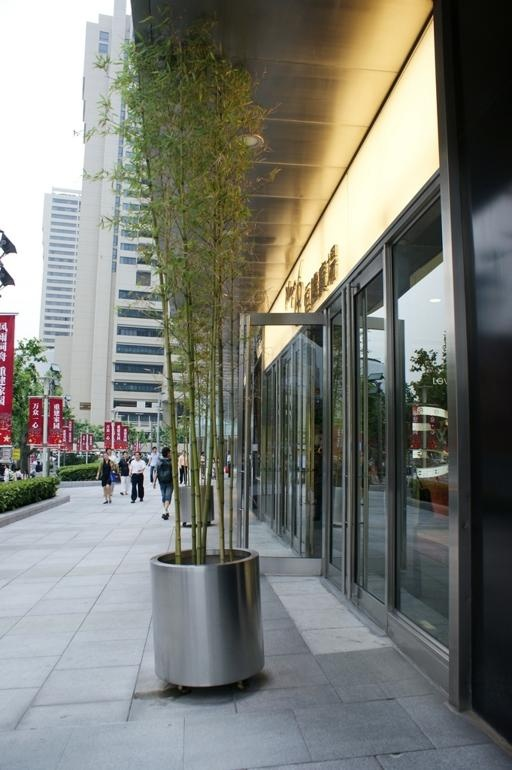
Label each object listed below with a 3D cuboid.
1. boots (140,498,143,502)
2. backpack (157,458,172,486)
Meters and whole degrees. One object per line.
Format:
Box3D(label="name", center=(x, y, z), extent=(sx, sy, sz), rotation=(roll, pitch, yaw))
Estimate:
Box3D(label="boots", center=(-3.154, 3.205, 15.201), extent=(0.064, 0.144, 0.070), rotation=(1, -4, 21))
Box3D(label="backpack", center=(-1.673, 1.587, 10.010), extent=(0.268, 0.455, 0.315), rotation=(0, -8, -6))
